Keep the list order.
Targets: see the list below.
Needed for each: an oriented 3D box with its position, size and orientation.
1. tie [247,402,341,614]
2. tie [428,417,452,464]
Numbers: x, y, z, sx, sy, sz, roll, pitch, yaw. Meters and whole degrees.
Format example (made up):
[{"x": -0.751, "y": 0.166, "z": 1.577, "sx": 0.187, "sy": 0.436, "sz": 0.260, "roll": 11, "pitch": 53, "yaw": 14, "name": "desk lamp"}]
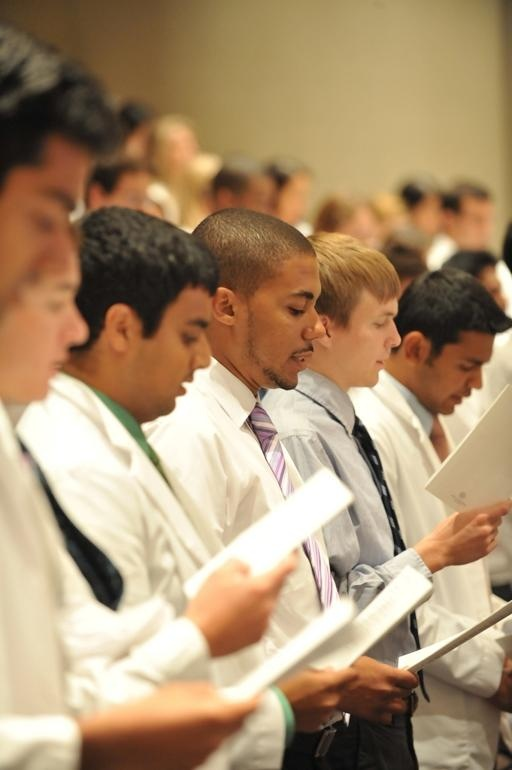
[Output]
[{"x": 0.053, "y": 0.176, "z": 1.112, "sx": 0.046, "sy": 0.041, "sz": 0.364, "roll": -1, "pitch": 57, "yaw": -42, "name": "tie"}, {"x": 0.465, "y": 0.139, "z": 2.025, "sx": 0.061, "sy": 0.097, "sz": 0.068, "roll": 5, "pitch": -5, "yaw": -29, "name": "tie"}]
